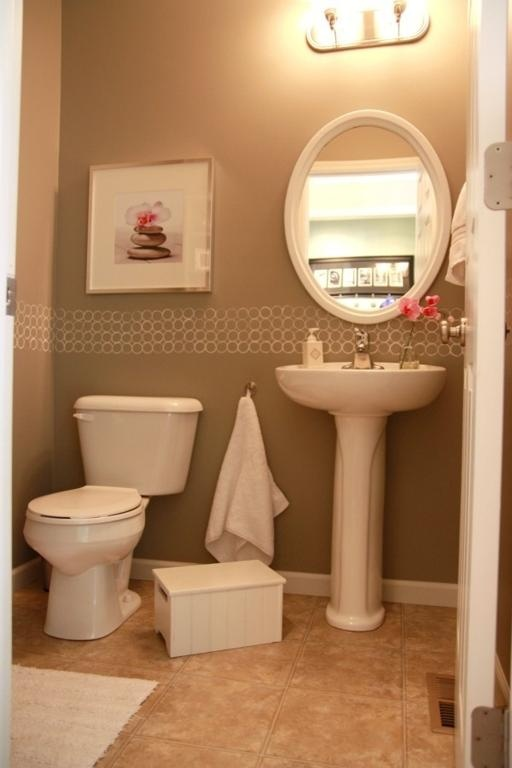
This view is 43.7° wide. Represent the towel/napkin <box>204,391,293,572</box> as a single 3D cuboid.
[{"bbox_3d":[-0.044,0.347,2.241,0.242,0.669,0.123,6,16,6],"label":"towel/napkin"}]

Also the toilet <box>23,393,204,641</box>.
[{"bbox_3d":[-0.496,0.399,2.066,0.403,0.705,0.648,2,1,13],"label":"toilet"}]

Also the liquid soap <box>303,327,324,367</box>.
[{"bbox_3d":[0.194,-0.125,2.174,0.072,0.133,0.117,1,2,6],"label":"liquid soap"}]

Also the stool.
[{"bbox_3d":[-0.106,0.647,1.879,0.367,0.192,0.226,0,2,-20],"label":"stool"}]

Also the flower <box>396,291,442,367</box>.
[{"bbox_3d":[0.522,-0.171,2.041,0.129,0.243,0.225,1,2,14],"label":"flower"}]

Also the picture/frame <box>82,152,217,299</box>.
[{"bbox_3d":[-0.370,-0.591,2.355,0.498,0.522,0.039,1,4,19],"label":"picture/frame"}]
